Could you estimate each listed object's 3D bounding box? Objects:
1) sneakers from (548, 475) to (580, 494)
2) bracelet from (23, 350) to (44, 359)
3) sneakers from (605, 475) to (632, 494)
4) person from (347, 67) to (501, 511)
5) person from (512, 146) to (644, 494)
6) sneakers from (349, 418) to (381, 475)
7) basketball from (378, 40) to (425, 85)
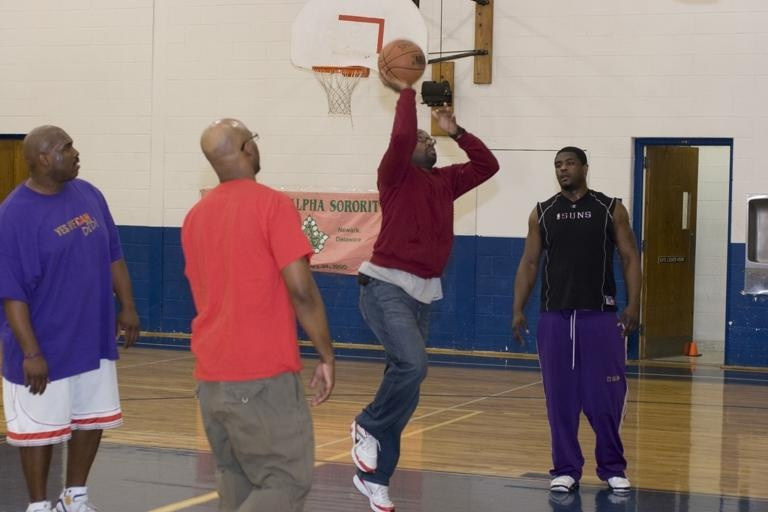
[{"bbox_3d":[1.377,1.721,7.109,0.235,0.118,0.110,-2,9,-12],"label":"sneakers"},{"bbox_3d":[-2.365,0.672,6.360,0.106,0.051,0.044,-5,10,-29],"label":"bracelet"},{"bbox_3d":[1.772,1.727,7.123,0.162,0.109,0.111,3,9,16],"label":"sneakers"},{"bbox_3d":[0.221,0.216,6.945,0.548,3.191,1.009,7,10,41],"label":"person"},{"bbox_3d":[1.462,0.480,7.164,0.923,2.567,0.578,2,8,16],"label":"person"},{"bbox_3d":[-0.148,1.410,6.815,0.173,0.418,0.159,-27,-8,24],"label":"sneakers"},{"bbox_3d":[0.117,-1.404,6.838,0.316,0.336,0.382,-5,10,-33],"label":"basketball"}]
